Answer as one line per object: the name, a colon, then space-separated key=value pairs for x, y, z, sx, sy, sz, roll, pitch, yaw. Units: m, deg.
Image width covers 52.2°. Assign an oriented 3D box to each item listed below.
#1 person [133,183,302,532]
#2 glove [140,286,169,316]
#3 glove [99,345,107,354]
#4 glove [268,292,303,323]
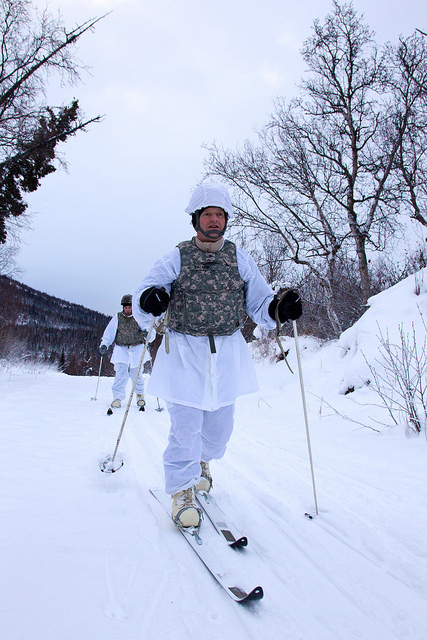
person: x=-0.019 y=0.158 z=2.913 sx=0.964 sy=2.195 sz=0.694 roll=7 pitch=-1 yaw=-33
glove: x=-0.367 y=-0.119 z=2.720 sx=0.132 sy=0.076 sz=0.190 roll=17 pitch=-30 yaw=-24
glove: x=-1.806 y=0.484 z=7.128 sx=0.092 sy=0.133 sz=0.123 roll=7 pitch=-9 yaw=-3
glove: x=0.485 y=-0.082 z=2.970 sx=0.251 sy=0.192 sz=0.197 roll=6 pitch=-1 yaw=24
